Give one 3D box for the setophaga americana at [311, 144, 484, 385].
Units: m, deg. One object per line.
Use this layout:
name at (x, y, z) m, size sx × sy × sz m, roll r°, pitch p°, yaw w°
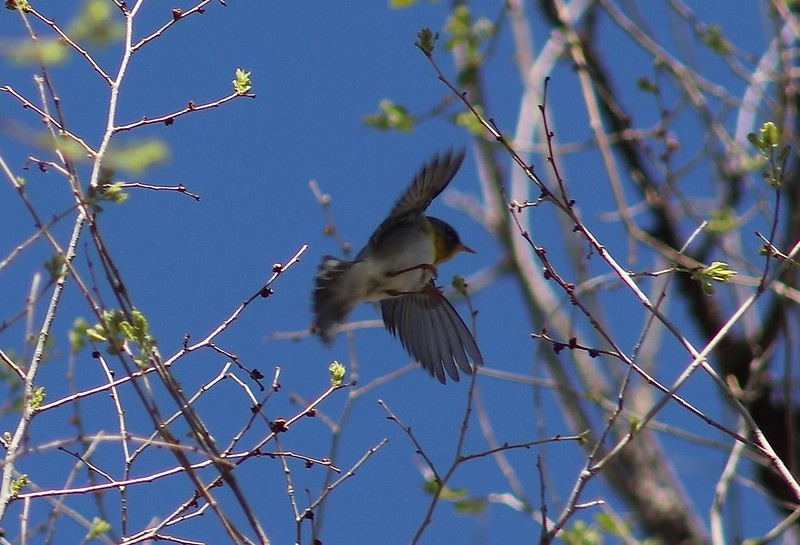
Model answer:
setophaga americana at (-0.051, -0.034, 5.307) m, size 0.788 × 1.449 × 0.559 m, roll -4°, pitch -41°, yaw -3°
